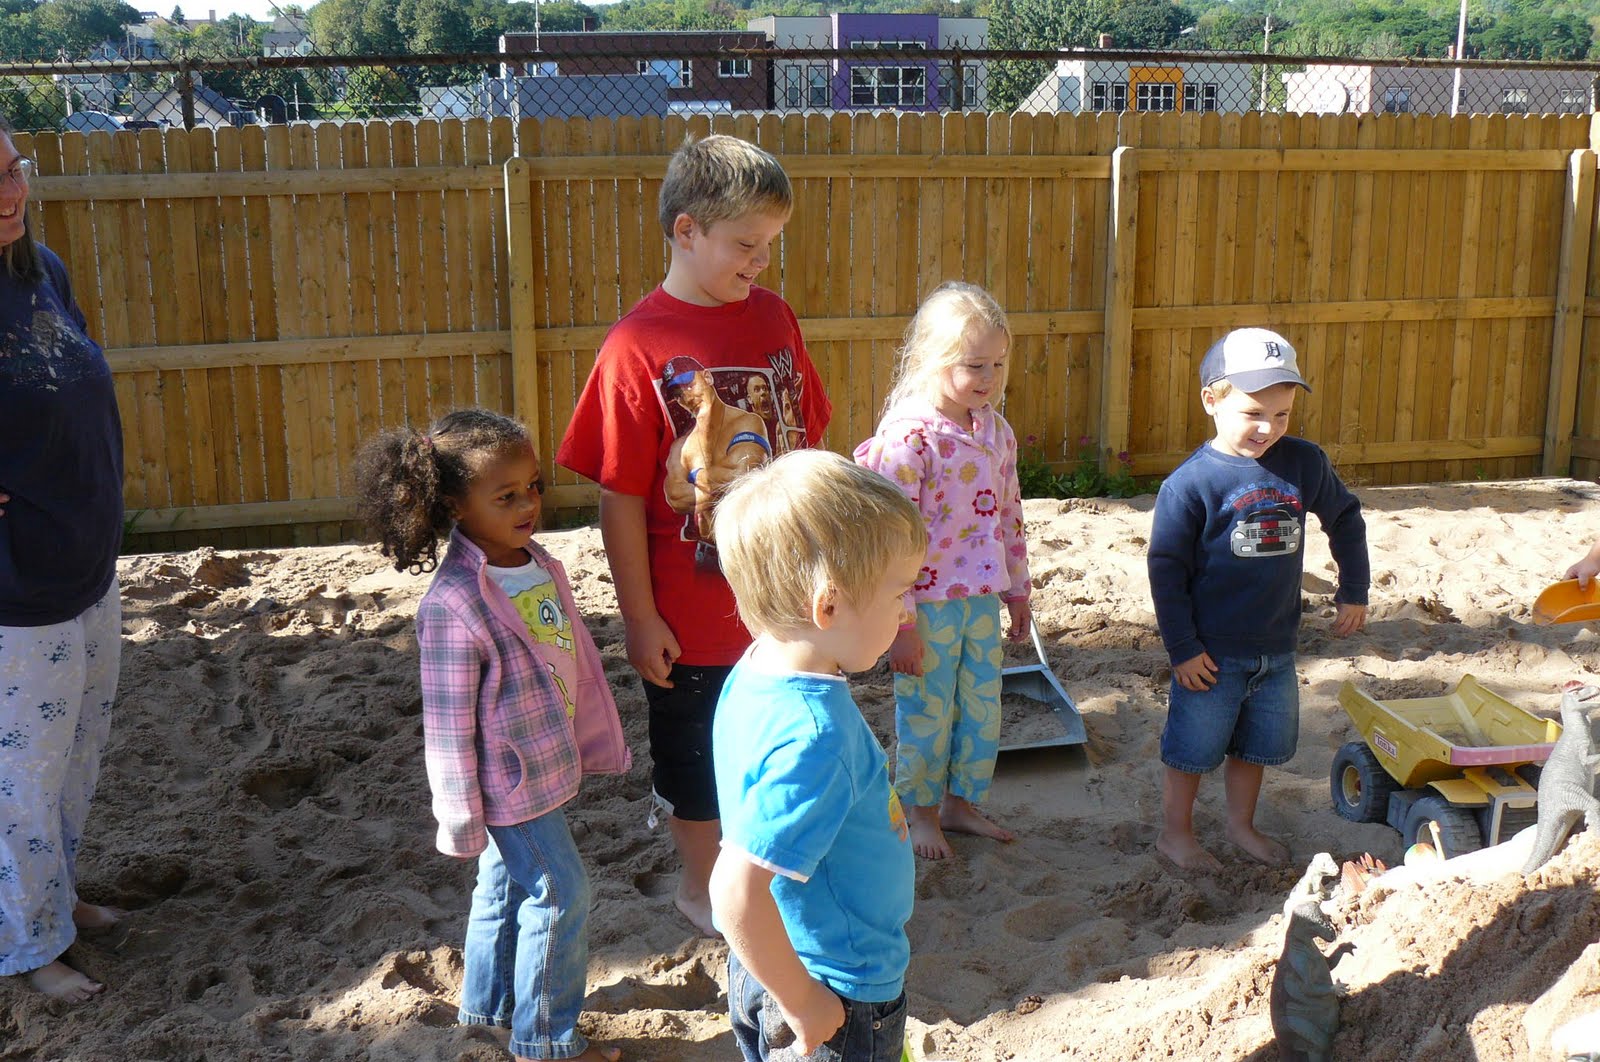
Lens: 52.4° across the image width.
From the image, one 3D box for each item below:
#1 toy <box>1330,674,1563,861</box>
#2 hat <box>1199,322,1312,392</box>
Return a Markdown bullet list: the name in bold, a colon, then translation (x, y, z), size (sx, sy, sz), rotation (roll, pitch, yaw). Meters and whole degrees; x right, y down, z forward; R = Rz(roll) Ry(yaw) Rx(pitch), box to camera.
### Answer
- **toy**: translation (2.783, 1.003, 7.080), size (0.628, 0.567, 0.868), rotation (-5, 25, -15)
- **hat**: translation (1.888, -0.720, 6.866), size (0.256, 0.227, 0.364), rotation (0, 2, -15)
